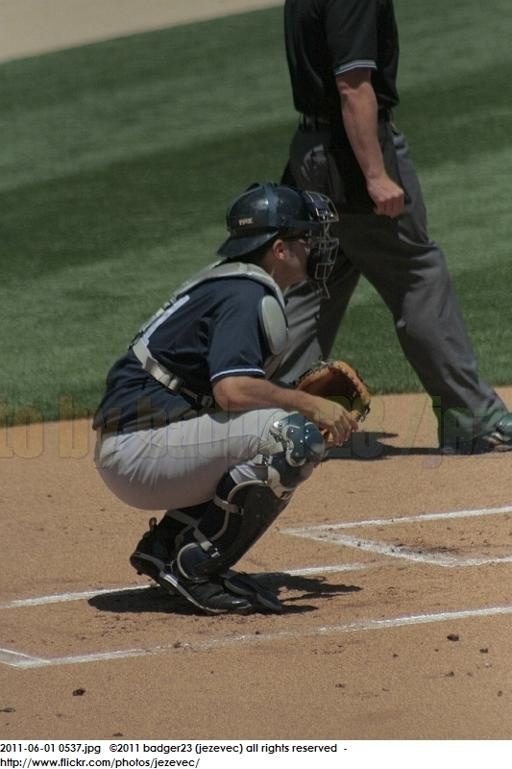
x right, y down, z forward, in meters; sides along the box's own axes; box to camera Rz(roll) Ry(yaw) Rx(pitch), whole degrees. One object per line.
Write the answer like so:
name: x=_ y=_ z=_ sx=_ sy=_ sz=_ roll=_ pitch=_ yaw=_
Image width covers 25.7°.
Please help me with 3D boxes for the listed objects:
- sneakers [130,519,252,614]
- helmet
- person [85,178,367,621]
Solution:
sneakers: x=-0.178 y=0.500 z=3.078 sx=0.359 sy=0.166 sz=0.123 roll=30 pitch=18 yaw=21
helmet: x=0.049 y=-0.419 z=3.157 sx=0.342 sy=0.264 sz=0.255 roll=0 pitch=1 yaw=-38
person: x=-0.054 y=0.026 z=3.203 sx=0.802 sy=1.087 sz=0.721 roll=6 pitch=3 yaw=-5
